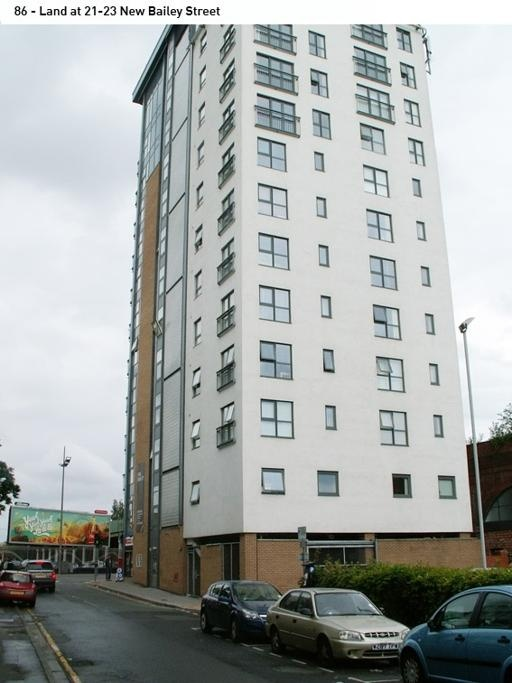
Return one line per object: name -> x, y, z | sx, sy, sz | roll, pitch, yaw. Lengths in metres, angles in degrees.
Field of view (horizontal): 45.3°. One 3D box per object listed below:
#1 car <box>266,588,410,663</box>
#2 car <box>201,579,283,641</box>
car -> 1.400, 5.159, 11.621 | 1.357, 1.034, 3.009 | 6, -20, -18
car -> -0.316, 6.752, 15.450 | 1.277, 0.968, 2.372 | 6, -23, -20
